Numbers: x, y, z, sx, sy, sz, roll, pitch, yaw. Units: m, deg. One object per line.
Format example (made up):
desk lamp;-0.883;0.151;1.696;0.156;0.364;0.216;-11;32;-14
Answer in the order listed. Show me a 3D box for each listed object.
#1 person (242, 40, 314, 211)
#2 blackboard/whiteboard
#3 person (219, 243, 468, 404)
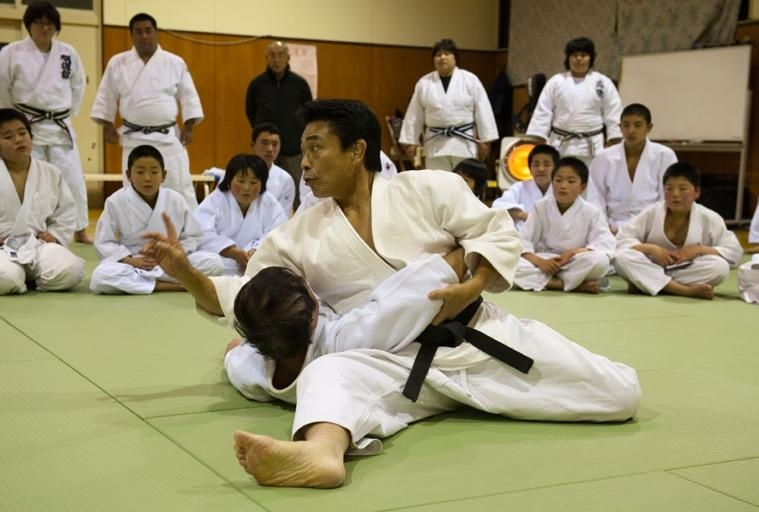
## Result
person;-1.137;-1.323;7.319;0.695;2.184;0.642;2;26;13
blackboard/whiteboard;3.897;-2.017;7.919;0.198;1.316;1.836;-9;12;-41
person;-0.150;0.292;2.414;0.939;0.624;0.424;0;12;-5
